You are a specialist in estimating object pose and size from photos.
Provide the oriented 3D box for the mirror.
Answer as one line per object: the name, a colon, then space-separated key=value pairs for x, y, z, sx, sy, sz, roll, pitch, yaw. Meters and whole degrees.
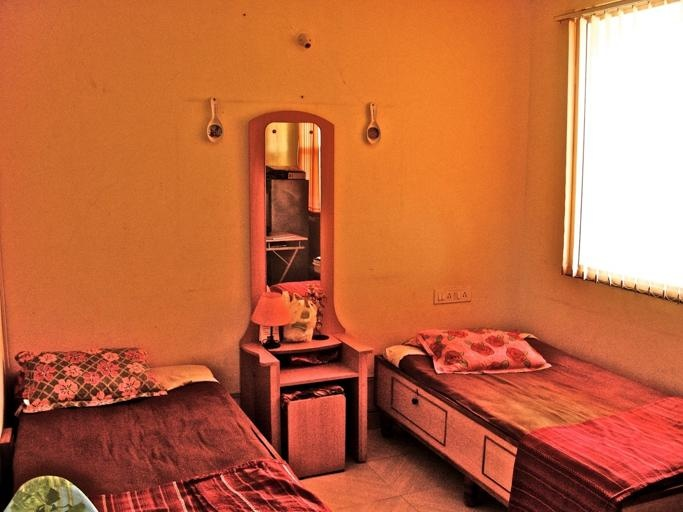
mirror: x=-0.302 y=-0.208 z=3.974 sx=0.659 sy=1.541 sz=0.224 roll=-2 pitch=14 yaw=-12

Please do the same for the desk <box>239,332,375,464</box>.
desk: x=-0.242 y=0.825 z=4.040 sx=0.939 sy=0.850 sz=0.755 roll=-1 pitch=1 yaw=-20

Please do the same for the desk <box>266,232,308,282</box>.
desk: x=-0.409 y=-0.009 z=4.088 sx=0.360 sy=0.373 sz=0.281 roll=-1 pitch=5 yaw=-16

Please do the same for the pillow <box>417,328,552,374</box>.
pillow: x=0.966 y=0.659 z=3.916 sx=0.546 sy=0.118 sz=0.375 roll=1 pitch=16 yaw=-10

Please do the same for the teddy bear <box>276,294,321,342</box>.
teddy bear: x=-0.314 y=0.376 z=4.020 sx=0.292 sy=0.445 sz=0.229 roll=3 pitch=20 yaw=-13
